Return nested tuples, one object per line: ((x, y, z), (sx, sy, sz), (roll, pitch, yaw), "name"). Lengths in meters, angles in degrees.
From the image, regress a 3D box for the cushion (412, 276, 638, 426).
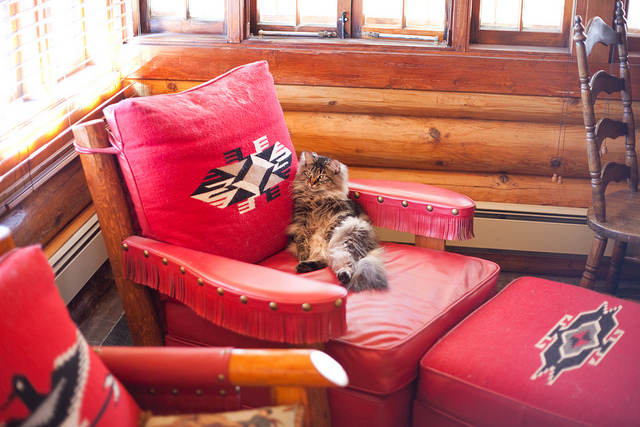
((0.683, 0.552, 1.517), (0.524, 0.213, 0.555), (14, 31, 33), "cushion")

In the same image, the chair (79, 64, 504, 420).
((-0.101, 0.070, 2.084), (1.506, 1.298, 1.288), (14, 37, 25), "chair")

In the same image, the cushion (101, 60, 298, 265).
((-0.414, -0.201, 1.822), (0.388, 0.790, 0.696), (15, 21, 38), "cushion")
